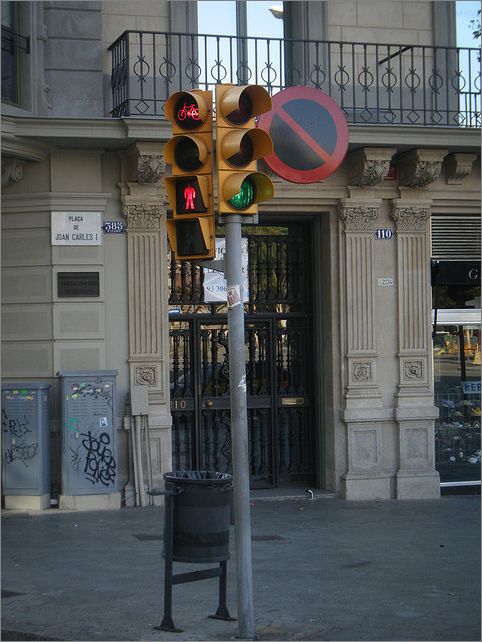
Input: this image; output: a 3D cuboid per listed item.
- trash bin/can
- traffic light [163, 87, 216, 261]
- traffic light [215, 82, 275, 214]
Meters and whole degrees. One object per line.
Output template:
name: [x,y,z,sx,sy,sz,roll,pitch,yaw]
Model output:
trash bin/can: [-0.258,1.398,9.231,0.705,0.812,0.533,3,-6,-30]
traffic light: [-0.362,-1.038,8.602,0.353,1.184,0.228,0,1,0]
traffic light: [0.029,-1.227,8.622,0.407,0.932,0.308,0,1,-5]
